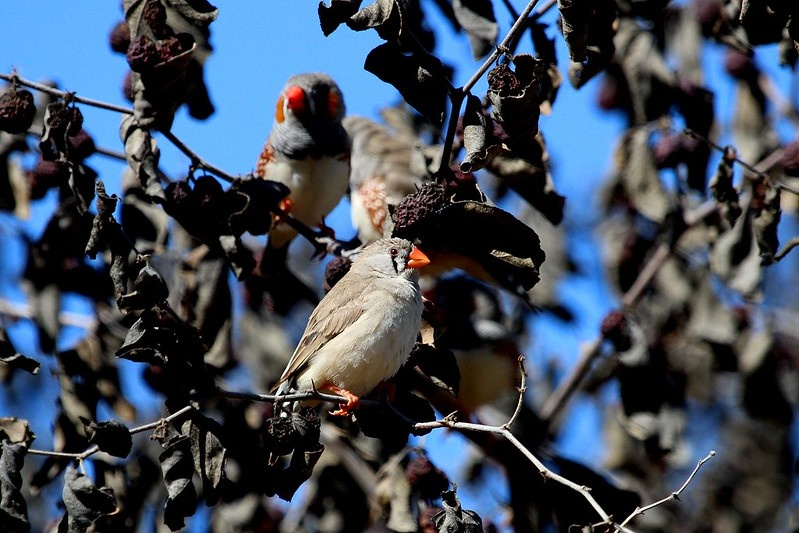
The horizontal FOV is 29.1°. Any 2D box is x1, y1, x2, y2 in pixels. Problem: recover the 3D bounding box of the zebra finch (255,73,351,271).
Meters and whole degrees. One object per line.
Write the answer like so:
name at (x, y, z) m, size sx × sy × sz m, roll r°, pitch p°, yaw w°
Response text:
zebra finch at (-0.569, -0.536, 9.111) m, size 0.388 × 0.573 × 1.207 m, roll 6°, pitch -55°, yaw -14°
